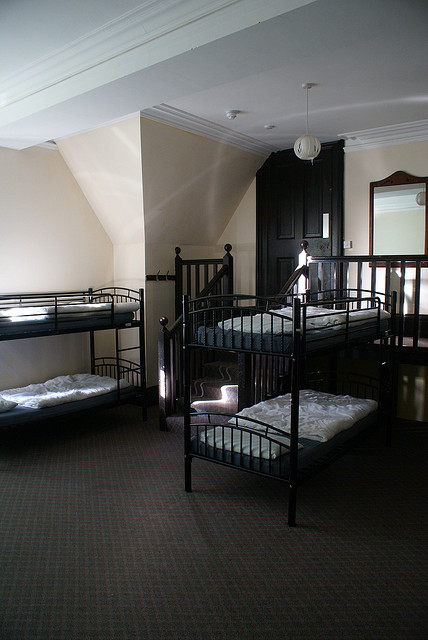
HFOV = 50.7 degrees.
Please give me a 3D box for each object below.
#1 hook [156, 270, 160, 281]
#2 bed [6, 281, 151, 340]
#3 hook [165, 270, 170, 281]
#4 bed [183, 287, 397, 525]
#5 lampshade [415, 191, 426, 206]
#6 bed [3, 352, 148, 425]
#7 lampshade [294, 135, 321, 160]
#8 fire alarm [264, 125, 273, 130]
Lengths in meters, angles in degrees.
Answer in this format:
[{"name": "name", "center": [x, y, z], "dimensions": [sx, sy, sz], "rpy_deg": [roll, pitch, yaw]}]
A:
[{"name": "hook", "center": [-0.683, -0.546, 5.470], "dimensions": [0.028, 0.129, 0.078], "rpy_deg": [-1, 3, 12]}, {"name": "bed", "center": [-1.435, -0.167, 4.754], "dimensions": [1.077, 0.535, 1.895], "rpy_deg": [1, 4, 39]}, {"name": "hook", "center": [-0.585, -0.562, 5.595], "dimensions": [0.022, 0.125, 0.076], "rpy_deg": [0, 3, 26]}, {"name": "bed", "center": [0.684, 0.482, 3.493], "dimensions": [1.014, 1.387, 1.730], "rpy_deg": [3, 6, 44]}, {"name": "lampshade", "center": [2.288, -1.344, 4.993], "dimensions": [0.031, 0.148, 0.101], "rpy_deg": [-3, 3, -40]}, {"name": "bed", "center": [-1.404, 0.692, 4.554], "dimensions": [1.098, 0.800, 0.762], "rpy_deg": [-5, 9, -44]}, {"name": "lampshade", "center": [0.840, -1.590, 4.066], "dimensions": [0.180, 0.233, 0.188], "rpy_deg": [-3, 3, -42]}, {"name": "fire alarm", "center": [0.592, -2.116, 4.918], "dimensions": [0.097, 0.015, 0.148], "rpy_deg": [-1, 3, 3]}]
